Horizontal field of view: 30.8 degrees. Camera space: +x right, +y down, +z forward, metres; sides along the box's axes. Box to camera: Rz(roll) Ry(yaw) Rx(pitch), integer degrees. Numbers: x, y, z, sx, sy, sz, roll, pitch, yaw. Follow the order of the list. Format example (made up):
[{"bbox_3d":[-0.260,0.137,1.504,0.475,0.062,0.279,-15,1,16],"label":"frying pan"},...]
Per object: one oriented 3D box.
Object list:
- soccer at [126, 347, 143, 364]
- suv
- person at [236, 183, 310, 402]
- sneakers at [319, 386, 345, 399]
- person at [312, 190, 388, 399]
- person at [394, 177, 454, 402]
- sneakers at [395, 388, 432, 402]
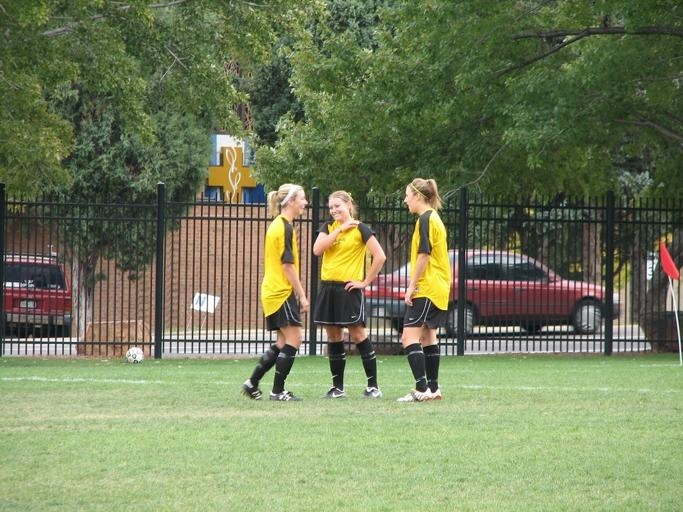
[{"bbox_3d":[-3.679,1.753,22.120,0.287,0.304,0.509,1,-7,-9],"label":"soccer"},{"bbox_3d":[-6.584,0.798,26.925,1.402,1.748,2.972,1,-3,-12],"label":"suv"},{"bbox_3d":[-0.908,0.471,17.508,0.839,3.080,0.816,0,-6,-4],"label":"person"},{"bbox_3d":[-0.139,1.934,17.580,0.322,0.154,0.121,3,-6,-20],"label":"sneakers"},{"bbox_3d":[0.084,0.519,17.522,0.967,2.928,0.673,1,-6,-6],"label":"person"},{"bbox_3d":[1.158,0.444,17.372,0.697,3.138,0.562,0,-6,4],"label":"person"},{"bbox_3d":[0.998,1.913,17.271,0.482,0.226,0.187,0,-5,-5],"label":"sneakers"}]
